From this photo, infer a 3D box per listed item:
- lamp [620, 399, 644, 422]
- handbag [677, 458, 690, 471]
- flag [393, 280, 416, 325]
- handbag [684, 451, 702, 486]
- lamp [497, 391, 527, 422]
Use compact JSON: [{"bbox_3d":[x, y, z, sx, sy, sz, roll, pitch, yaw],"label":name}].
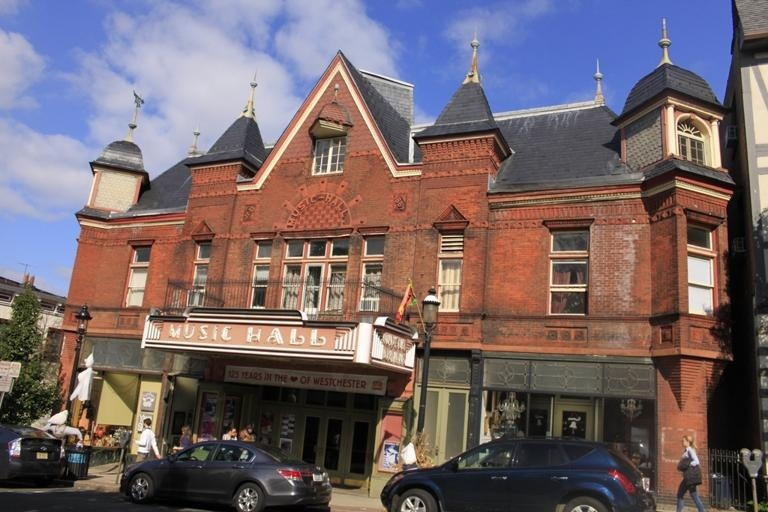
[{"bbox_3d":[10.168,6.305,25.538,0.889,0.824,1.631,-3,-21,20],"label":"lamp"},{"bbox_3d":[9.178,6.383,19.068,0.153,0.391,0.295,22,-12,-13],"label":"handbag"},{"bbox_3d":[0.879,1.632,23.500,0.815,2.051,0.202,-10,-46,18],"label":"flag"},{"bbox_3d":[9.380,6.435,18.996,0.453,1.020,0.289,-5,-22,23],"label":"handbag"},{"bbox_3d":[4.736,5.790,23.748,1.124,1.565,1.099,5,-16,-8],"label":"lamp"}]
